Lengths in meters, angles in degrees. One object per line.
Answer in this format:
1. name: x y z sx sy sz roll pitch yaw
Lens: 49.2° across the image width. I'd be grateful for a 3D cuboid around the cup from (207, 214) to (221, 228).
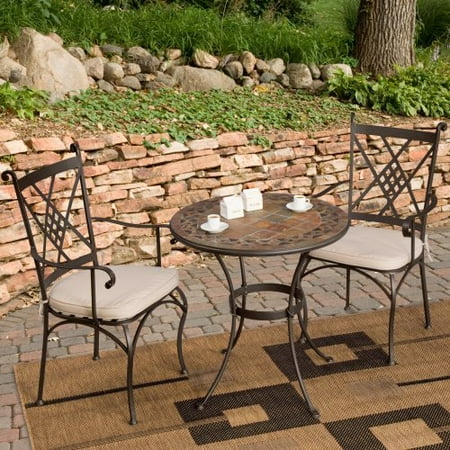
1. cup: -0.062 -0.023 2.682 0.063 0.045 0.079 -2 6 -3
